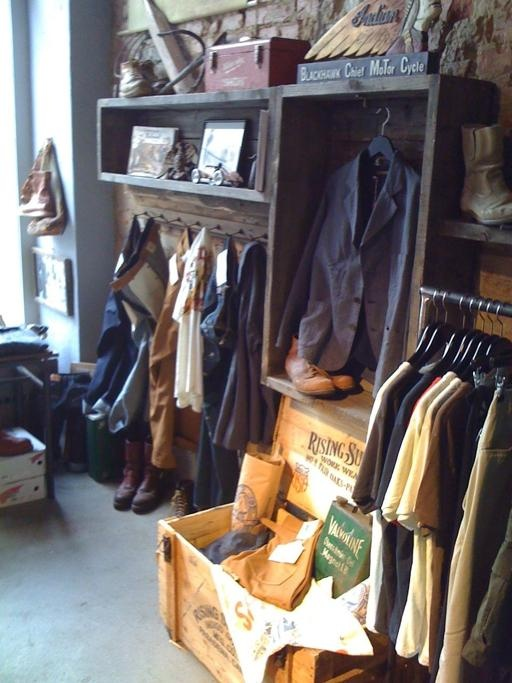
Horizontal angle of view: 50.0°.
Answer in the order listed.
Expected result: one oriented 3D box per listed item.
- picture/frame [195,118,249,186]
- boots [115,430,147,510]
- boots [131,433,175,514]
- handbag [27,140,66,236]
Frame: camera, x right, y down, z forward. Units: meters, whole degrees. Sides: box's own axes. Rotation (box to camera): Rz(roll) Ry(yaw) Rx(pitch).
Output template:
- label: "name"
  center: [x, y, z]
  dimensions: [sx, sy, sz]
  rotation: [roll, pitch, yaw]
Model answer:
- label: "picture/frame"
  center: [-0.157, -0.828, 2.439]
  dimensions: [0.277, 0.298, 0.033]
  rotation: [15, 11, 37]
- label: "boots"
  center: [-0.735, 0.744, 3.134]
  dimensions: [0.131, 0.333, 0.358]
  rotation: [6, 13, 5]
- label: "boots"
  center: [-0.591, 0.753, 3.071]
  dimensions: [0.134, 0.342, 0.368]
  rotation: [0, 8, 23]
- label: "handbag"
  center: [-1.402, -1.032, 3.647]
  dimensions: [0.212, 0.636, 0.259]
  rotation: [-8, 14, -34]
